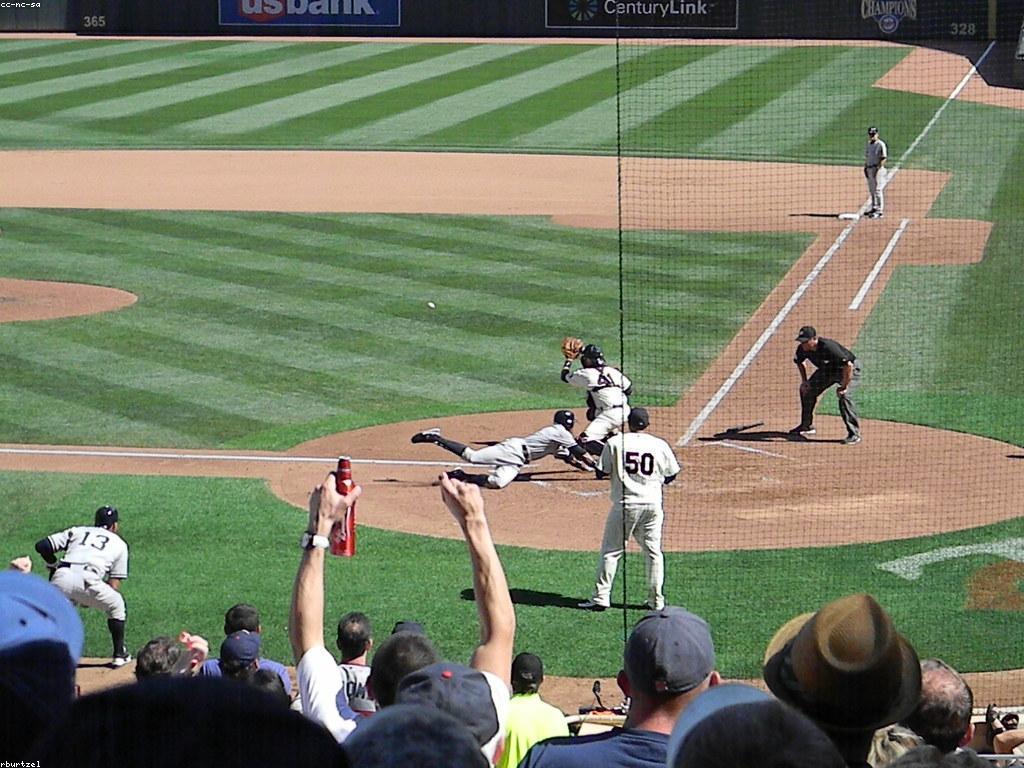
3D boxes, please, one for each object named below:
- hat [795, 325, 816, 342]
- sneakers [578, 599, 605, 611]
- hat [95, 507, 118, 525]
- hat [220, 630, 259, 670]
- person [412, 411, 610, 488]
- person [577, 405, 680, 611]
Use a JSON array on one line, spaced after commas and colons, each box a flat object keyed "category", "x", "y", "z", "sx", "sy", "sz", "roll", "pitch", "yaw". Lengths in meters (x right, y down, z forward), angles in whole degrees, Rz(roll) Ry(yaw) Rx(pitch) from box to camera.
[{"category": "hat", "x": 5.305, "y": -0.897, "z": 39.938, "sx": 0.362, "sy": 0.173, "sz": 0.255, "roll": -23, "pitch": 33, "yaw": -37}, {"category": "sneakers", "x": 1.288, "y": 3.495, "z": 35.558, "sx": 0.497, "sy": 0.177, "sz": 0.155, "roll": 8, "pitch": 14, "yaw": 6}, {"category": "hat", "x": -6.337, "y": 2.062, "z": 35.134, "sx": 0.271, "sy": 0.298, "sz": 0.347, "roll": 8, "pitch": 21, "yaw": 17}, {"category": "hat", "x": -3.880, "y": 3.822, "z": 32.217, "sx": 0.492, "sy": 0.547, "sz": 0.256, "roll": 3, "pitch": -11, "yaw": -18}, {"category": "person", "x": 0.229, "y": 1.100, "z": 38.120, "sx": 2.673, "sy": 0.980, "sz": 1.382, "roll": -4, "pitch": 21, "yaw": -20}, {"category": "person", "x": 1.963, "y": 1.976, "z": 35.584, "sx": 1.292, "sy": 3.231, "sz": 1.342, "roll": 0, "pitch": -10, "yaw": -1}]
